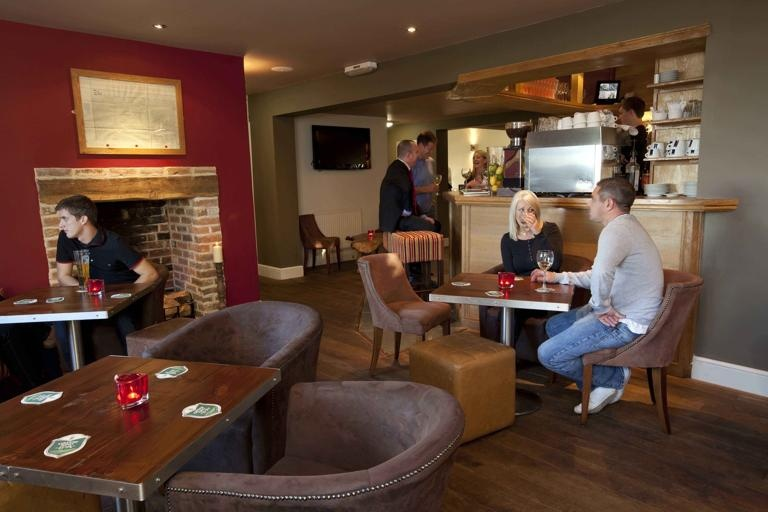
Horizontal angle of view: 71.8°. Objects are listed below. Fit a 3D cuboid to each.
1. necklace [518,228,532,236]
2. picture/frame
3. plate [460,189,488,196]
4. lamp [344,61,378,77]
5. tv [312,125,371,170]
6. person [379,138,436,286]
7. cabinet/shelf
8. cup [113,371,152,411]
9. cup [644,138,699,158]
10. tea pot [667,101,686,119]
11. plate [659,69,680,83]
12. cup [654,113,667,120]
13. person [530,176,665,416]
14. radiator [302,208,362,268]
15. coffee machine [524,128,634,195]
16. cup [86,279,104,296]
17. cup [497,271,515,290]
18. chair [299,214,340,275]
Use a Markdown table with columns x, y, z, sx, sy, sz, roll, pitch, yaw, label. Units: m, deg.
| x | y | z | sx | sy | sz | roll | pitch | yaw | label |
| --- | --- | --- | --- | --- | --- | --- | --- | --- | --- |
| 1.240 | -0.191 | 4.672 | 0.093 | 0.097 | 0.061 | -3 | -10 | 14 | necklace |
| -2.744 | -1.520 | 5.557 | 1.099 | 0.783 | 0.050 | -7 | 11 | -37 | picture/frame |
| 1.012 | -0.698 | 5.881 | 0.316 | 0.059 | 0.368 | -2 | 10 | 9 | plate |
| -0.299 | -2.376 | 6.757 | 0.523 | 0.134 | 0.206 | 5 | 14 | 38 | lamp |
| -0.755 | -2.005 | 9.911 | 1.485 | 0.800 | 0.149 | 9 | 18 | 37 | tv |
| 0.297 | -0.544 | 6.337 | 0.827 | 1.566 | 0.673 | 7 | 20 | 20 | person |
| 2.678 | -1.188 | 4.939 | 0.214 | 0.614 | 0.696 | -1 | 11 | -15 | cabinet/shelf |
| -1.294 | 0.684 | 2.706 | 0.161 | 0.128 | 0.126 | -5 | 9 | -6 | cup |
| 2.624 | -0.968 | 4.839 | 0.327 | 0.107 | 0.219 | -3 | 0 | 33 | cup |
| 2.686 | -1.329 | 4.867 | 0.142 | 0.154 | 0.202 | 2 | 12 | 25 | tea pot |
| 2.624 | -1.612 | 4.863 | 0.157 | 0.096 | 0.153 | -7 | 10 | -39 | plate |
| 2.565 | -1.288 | 4.903 | 0.090 | 0.048 | 0.086 | -2 | 5 | 0 | cup |
| 1.665 | 0.313 | 4.122 | 1.000 | 1.676 | 0.859 | -3 | 2 | 1 | person |
| -1.140 | -0.240 | 9.260 | 0.654 | 0.836 | 0.541 | 7 | 13 | 19 | radiator |
| 1.864 | -0.933 | 5.238 | 0.593 | 0.552 | 0.809 | -16 | 16 | -40 | coffee machine |
| -2.221 | 0.231 | 4.077 | 0.130 | 0.128 | 0.127 | 1 | 8 | 0 | cup |
| 0.945 | 0.202 | 4.069 | 0.119 | 0.105 | 0.132 | 0 | 1 | 30 | cup |
| -1.124 | -0.247 | 9.259 | 0.676 | 0.835 | 0.564 | 4 | 11 | 10 | chair |
